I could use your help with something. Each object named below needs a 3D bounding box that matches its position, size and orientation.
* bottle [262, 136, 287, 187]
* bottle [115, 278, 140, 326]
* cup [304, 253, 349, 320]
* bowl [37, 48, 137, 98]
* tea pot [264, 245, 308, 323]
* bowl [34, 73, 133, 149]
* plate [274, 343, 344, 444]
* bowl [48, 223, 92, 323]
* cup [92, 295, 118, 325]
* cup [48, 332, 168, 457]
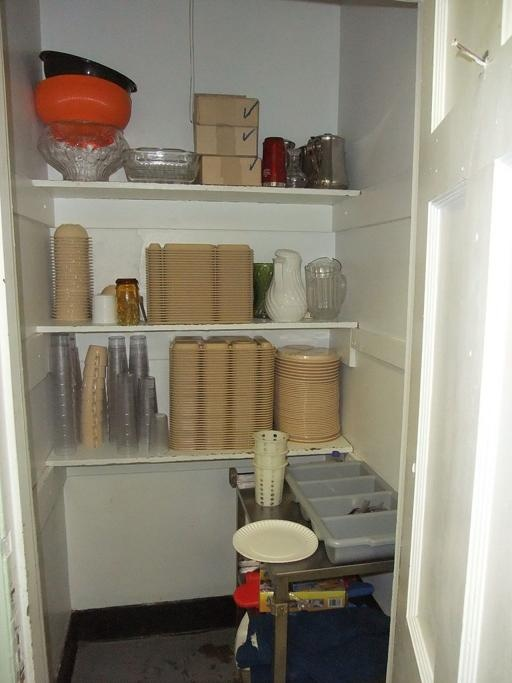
[{"bbox_3d":[0.060,-0.538,1.752,0.098,0.152,0.079,-6,7,-20],"label":"bottle"},{"bbox_3d":[-0.368,-0.116,1.684,0.069,0.133,0.092,-5,7,-14],"label":"bottle"},{"bbox_3d":[0.224,-0.171,1.898,0.133,0.199,0.124,-4,7,0],"label":"cup"},{"bbox_3d":[-0.428,-0.660,1.496,0.216,0.074,0.226,16,25,-8],"label":"bowl"},{"bbox_3d":[0.089,-0.176,1.828,0.127,0.228,0.159,-4,7,-5],"label":"tea pot"},{"bbox_3d":[-0.476,-0.648,1.629,0.254,0.131,0.267,1,13,0],"label":"bowl"},{"bbox_3d":[0.156,0.152,1.937,0.252,0.274,0.247,4,13,19],"label":"plate"},{"bbox_3d":[-0.543,-0.198,1.709,0.119,0.287,0.092,-5,7,-14],"label":"bowl"},{"bbox_3d":[-0.423,-0.097,1.693,0.073,0.087,0.076,0,11,0],"label":"cup"},{"bbox_3d":[-0.451,0.137,1.856,0.297,0.397,0.351,-4,10,-33],"label":"cup"}]
